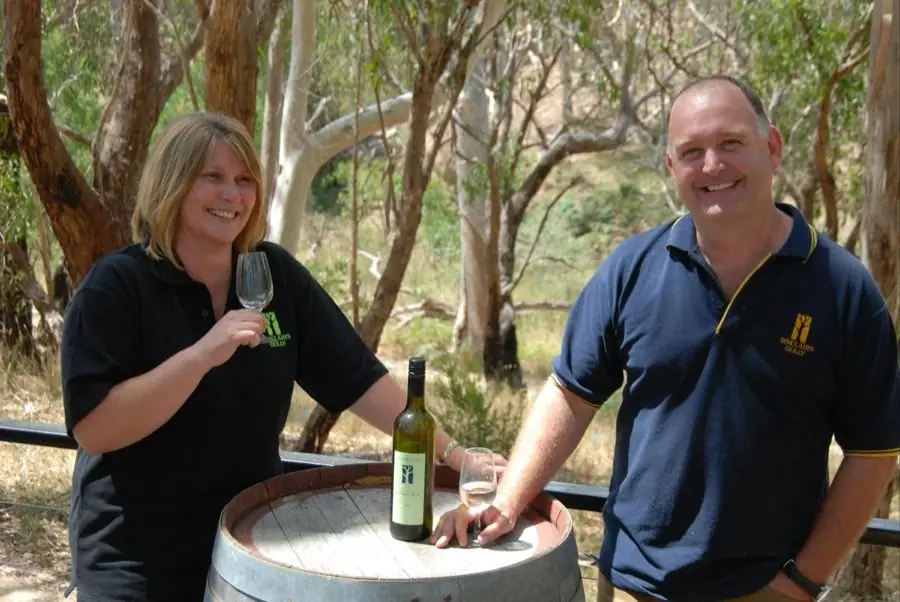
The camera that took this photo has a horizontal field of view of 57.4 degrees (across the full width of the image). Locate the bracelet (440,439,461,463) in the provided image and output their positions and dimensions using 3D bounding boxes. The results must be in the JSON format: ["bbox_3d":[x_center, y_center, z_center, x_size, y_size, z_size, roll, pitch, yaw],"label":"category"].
[{"bbox_3d":[-0.002,0.578,3.210,0.023,0.088,0.082,25,27,-17],"label":"bracelet"}]
